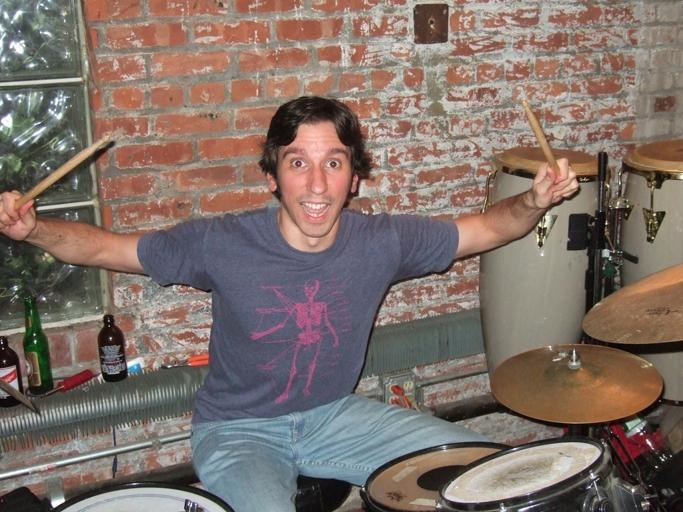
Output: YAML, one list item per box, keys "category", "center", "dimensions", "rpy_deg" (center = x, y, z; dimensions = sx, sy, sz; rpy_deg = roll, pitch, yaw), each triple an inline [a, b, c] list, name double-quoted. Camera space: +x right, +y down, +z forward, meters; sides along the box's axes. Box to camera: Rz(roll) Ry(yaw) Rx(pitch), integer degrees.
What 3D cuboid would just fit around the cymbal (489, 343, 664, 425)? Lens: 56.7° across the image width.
- category: "cymbal"
  center: [0.807, 0.443, 2.191]
  dimensions: [0.406, 0.089, 0.391]
  rpy_deg: [4, 27, 20]
